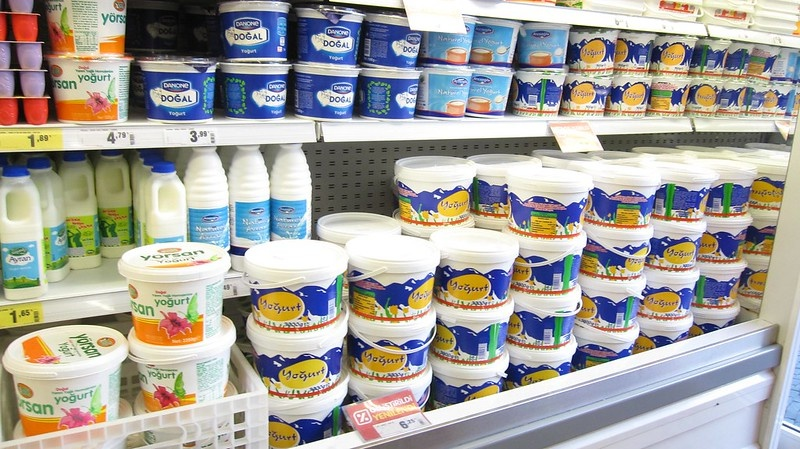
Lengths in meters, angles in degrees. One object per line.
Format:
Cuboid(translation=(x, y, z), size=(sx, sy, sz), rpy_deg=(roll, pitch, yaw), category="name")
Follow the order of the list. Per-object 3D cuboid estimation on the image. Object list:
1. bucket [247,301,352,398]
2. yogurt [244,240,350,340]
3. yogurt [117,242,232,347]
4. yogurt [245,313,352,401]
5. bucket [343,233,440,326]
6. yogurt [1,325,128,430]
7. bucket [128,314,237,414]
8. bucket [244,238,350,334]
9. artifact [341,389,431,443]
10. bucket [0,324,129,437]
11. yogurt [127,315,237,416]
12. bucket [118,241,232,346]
Cuboid(translation=(-0.444, 0.623, 2.632), size=(0.460, 0.235, 0.429), rpy_deg=(-3, -5, 0), category="bucket")
Cuboid(translation=(-0.495, 0.314, 2.610), size=(0.495, 0.252, 0.502), rpy_deg=(2, 3, 43), category="yogurt")
Cuboid(translation=(-0.925, 0.280, 2.423), size=(0.509, 0.286, 0.464), rpy_deg=(-6, 16, -30), category="yogurt")
Cuboid(translation=(-0.424, 0.567, 2.560), size=(0.424, 0.227, 0.408), rpy_deg=(6, 11, 32), category="yogurt")
Cuboid(translation=(-0.076, 0.289, 2.729), size=(0.436, 0.254, 0.435), rpy_deg=(4, 1, 0), category="bucket")
Cuboid(translation=(-1.283, 0.606, 2.279), size=(0.420, 0.347, 0.304), rpy_deg=(-11, 20, -27), category="yogurt")
Cuboid(translation=(-0.931, 0.615, 2.474), size=(0.496, 0.265, 0.425), rpy_deg=(1, 3, 6), category="bucket")
Cuboid(translation=(-0.419, 0.311, 2.605), size=(0.498, 0.235, 0.434), rpy_deg=(0, 2, 1), category="bucket")
Cuboid(translation=(-0.048, 0.822, 2.467), size=(0.313, 0.107, 0.174), rpy_deg=(-8, 17, -22), category="artifact")
Cuboid(translation=(-1.264, 0.572, 2.309), size=(0.478, 0.290, 0.442), rpy_deg=(5, 13, -1), category="bucket")
Cuboid(translation=(-0.921, 0.588, 2.464), size=(0.482, 0.268, 0.428), rpy_deg=(2, 9, 9), category="yogurt")
Cuboid(translation=(-0.927, 0.280, 2.408), size=(0.441, 0.272, 0.448), rpy_deg=(2, 14, -1), category="bucket")
